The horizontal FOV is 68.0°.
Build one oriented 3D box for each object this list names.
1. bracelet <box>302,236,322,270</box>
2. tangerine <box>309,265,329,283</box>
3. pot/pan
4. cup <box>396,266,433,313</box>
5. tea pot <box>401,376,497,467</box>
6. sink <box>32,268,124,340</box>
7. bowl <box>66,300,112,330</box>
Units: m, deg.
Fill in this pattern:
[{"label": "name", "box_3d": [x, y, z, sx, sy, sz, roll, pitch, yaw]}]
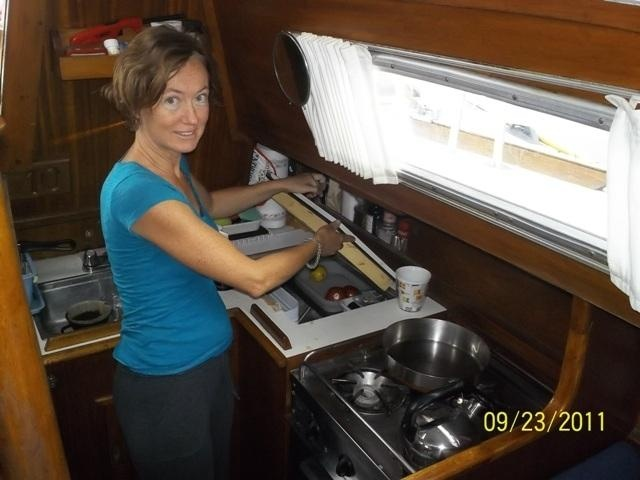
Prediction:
[{"label": "bracelet", "box_3d": [-0.017, 0.052, 1.684, 0.092, 0.109, 0.040, -4, -17, 21]}, {"label": "tangerine", "box_3d": [-0.008, 0.151, 2.186, 0.075, 0.058, 0.057, -12, 35, -38]}, {"label": "pot/pan", "box_3d": [0.424, 0.404, 1.542, 0.250, 0.145, 0.409, -12, 35, -22]}, {"label": "cup", "box_3d": [0.352, 0.178, 1.869, 0.160, 0.165, 0.158, 2, 28, -1]}, {"label": "tea pot", "box_3d": [0.347, 0.475, 1.418, 0.290, 0.246, 0.170, -23, 39, -17]}, {"label": "sink", "box_3d": [-1.074, 0.297, 2.150, 0.356, 0.114, 0.268, -9, 35, -18]}, {"label": "bowl", "box_3d": [-0.982, 0.314, 1.999, 0.145, 0.051, 0.119, -1, 30, -20]}]
